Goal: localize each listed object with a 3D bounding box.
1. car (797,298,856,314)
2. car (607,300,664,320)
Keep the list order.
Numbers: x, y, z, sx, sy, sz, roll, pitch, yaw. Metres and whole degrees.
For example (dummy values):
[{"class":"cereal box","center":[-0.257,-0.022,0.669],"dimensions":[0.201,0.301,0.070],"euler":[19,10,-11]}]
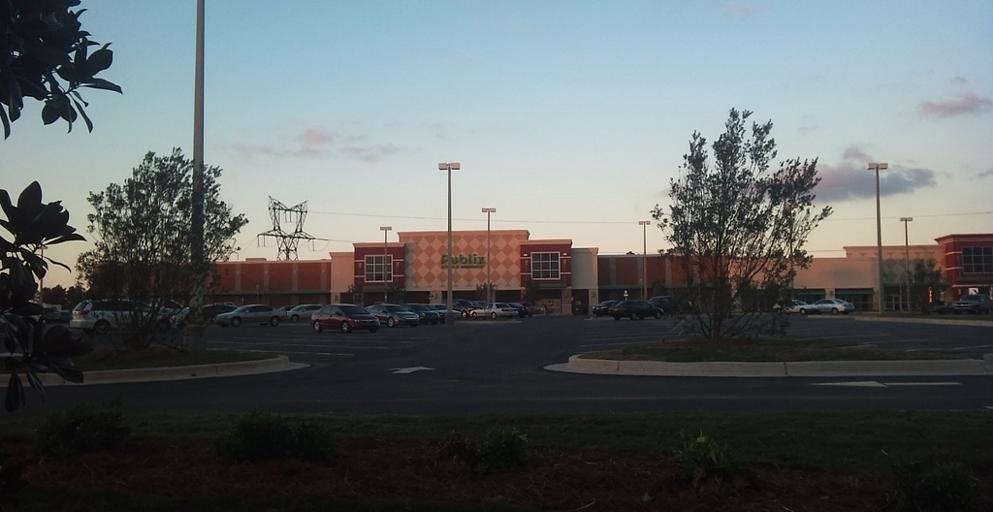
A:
[{"class":"car","center":[28.851,4.511,80.084],"dimensions":[4.006,1.081,1.861],"euler":[1,-2,27]},{"class":"car","center":[10.403,3.958,66.962],"dimensions":[3.464,1.017,1.477],"euler":[-2,0,-10]}]
